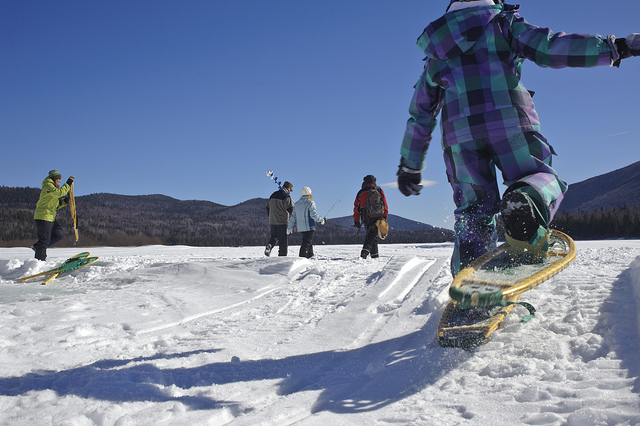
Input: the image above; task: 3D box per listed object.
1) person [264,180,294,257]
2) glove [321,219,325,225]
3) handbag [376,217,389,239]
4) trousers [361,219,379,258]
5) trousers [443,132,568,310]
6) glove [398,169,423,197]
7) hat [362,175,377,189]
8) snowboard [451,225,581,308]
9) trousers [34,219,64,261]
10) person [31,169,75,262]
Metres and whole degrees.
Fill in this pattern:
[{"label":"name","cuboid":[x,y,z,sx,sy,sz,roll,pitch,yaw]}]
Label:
[{"label":"person","cuboid":[-0.933,0.159,10.305,0.663,1.722,1.315,-2,4,-4]},{"label":"glove","cuboid":[0.061,0.188,10.938,0.043,0.129,0.139,-10,0,31]},{"label":"handbag","cuboid":[1.375,0.276,10.386,0.369,0.658,0.548,1,3,5]},{"label":"trousers","cuboid":[1.121,0.570,10.342,0.365,0.878,0.874,-1,4,6]},{"label":"trousers","cuboid":[1.540,-0.052,3.988,0.476,1.240,0.955,-6,6,-43]},{"label":"glove","cuboid":[0.948,-0.328,4.821,0.259,0.266,0.155,1,5,22]},{"label":"hat","cuboid":[1.096,-0.707,10.275,0.277,0.264,0.290,-1,4,4]},{"label":"snowboard","cuboid":[1.654,0.468,3.707,0.560,0.285,1.720,-1,10,40]},{"label":"trousers","cuboid":[-5.707,0.550,9.659,0.557,0.978,0.429,5,8,-16]},{"label":"person","cuboid":[-5.662,0.045,9.610,0.699,1.865,1.137,-2,4,-3]}]
